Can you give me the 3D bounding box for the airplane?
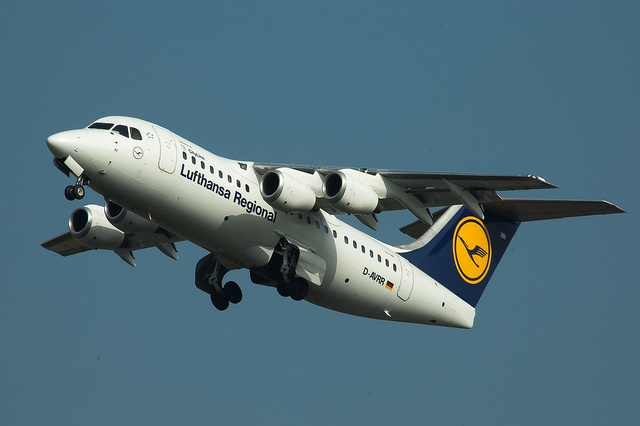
[{"bbox_3d":[-0.348,0.332,28.281,7.577,7.263,2.848,25,62,-21],"label":"airplane"}]
